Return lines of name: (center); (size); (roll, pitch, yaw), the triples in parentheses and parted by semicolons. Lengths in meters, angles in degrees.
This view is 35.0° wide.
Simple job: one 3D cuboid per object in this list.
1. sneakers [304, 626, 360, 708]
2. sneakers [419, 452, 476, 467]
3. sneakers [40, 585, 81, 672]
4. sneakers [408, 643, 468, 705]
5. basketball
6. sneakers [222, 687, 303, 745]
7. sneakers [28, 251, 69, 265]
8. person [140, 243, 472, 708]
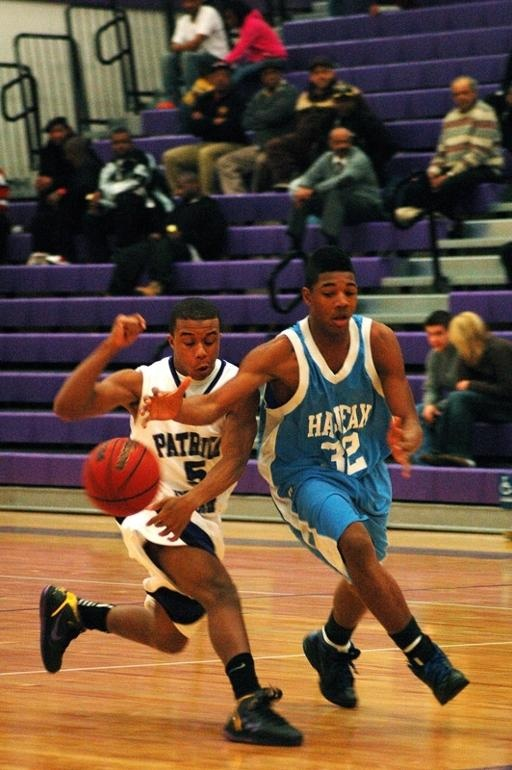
sneakers: (0.200, 0.740, 2.132); (0.077, 0.095, 0.217); (22, 26, -41)
sneakers: (1.110, 0.429, 4.782); (0.318, 0.128, 0.098); (-4, -3, 38)
sneakers: (-0.514, 0.621, 2.149); (0.113, 0.243, 0.085); (0, -2, 4)
sneakers: (0.376, 0.618, 1.693); (0.093, 0.146, 0.104); (-7, 10, -6)
basketball: (-0.308, 0.206, 1.850); (0.192, 0.204, 0.175); (-1, -7, -10)
sneakers: (0.015, 0.692, 1.693); (0.172, 0.120, 0.059); (-2, -28, 26)
sneakers: (-1.831, -1.084, 7.044); (0.248, 0.082, 0.159); (1, -3, 5)
person: (0.122, 0.177, 1.849); (0.514, 0.959, 0.501); (-6, 10, 3)
